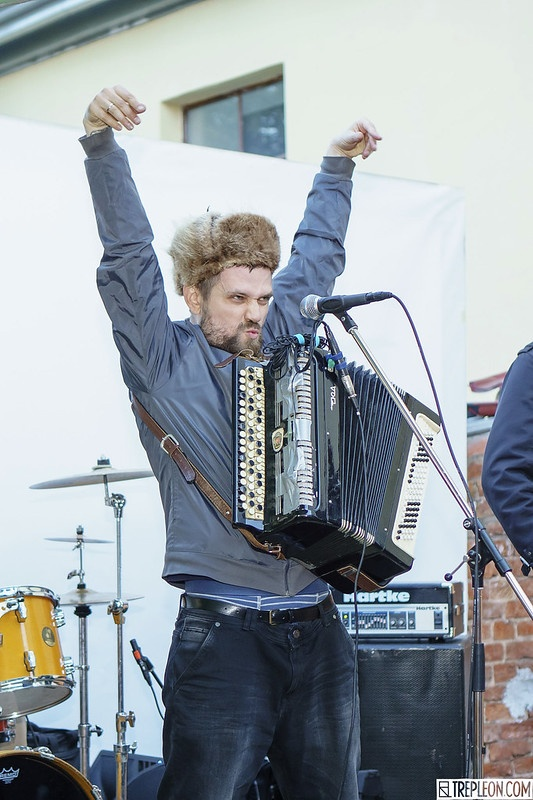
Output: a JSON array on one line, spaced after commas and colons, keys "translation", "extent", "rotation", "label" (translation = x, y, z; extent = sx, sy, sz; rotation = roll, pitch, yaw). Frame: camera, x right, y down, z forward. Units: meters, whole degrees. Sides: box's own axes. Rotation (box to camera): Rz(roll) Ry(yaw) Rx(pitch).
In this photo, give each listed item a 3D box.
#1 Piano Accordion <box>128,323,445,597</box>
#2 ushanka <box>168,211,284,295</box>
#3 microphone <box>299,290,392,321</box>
[{"translation": [0.148, 0.227, 6.424], "extent": [0.852, 0.879, 0.251], "rotation": [31, -29, -25], "label": "Piano Accordion"}, {"translation": [-0.142, -0.500, 6.842], "extent": [0.250, 0.240, 0.318], "rotation": [-4, -1, -29], "label": "ushanka"}, {"translation": [0.246, -0.309, 6.568], "extent": [0.291, 0.099, 0.243], "rotation": [-2, -4, 0], "label": "microphone"}]
